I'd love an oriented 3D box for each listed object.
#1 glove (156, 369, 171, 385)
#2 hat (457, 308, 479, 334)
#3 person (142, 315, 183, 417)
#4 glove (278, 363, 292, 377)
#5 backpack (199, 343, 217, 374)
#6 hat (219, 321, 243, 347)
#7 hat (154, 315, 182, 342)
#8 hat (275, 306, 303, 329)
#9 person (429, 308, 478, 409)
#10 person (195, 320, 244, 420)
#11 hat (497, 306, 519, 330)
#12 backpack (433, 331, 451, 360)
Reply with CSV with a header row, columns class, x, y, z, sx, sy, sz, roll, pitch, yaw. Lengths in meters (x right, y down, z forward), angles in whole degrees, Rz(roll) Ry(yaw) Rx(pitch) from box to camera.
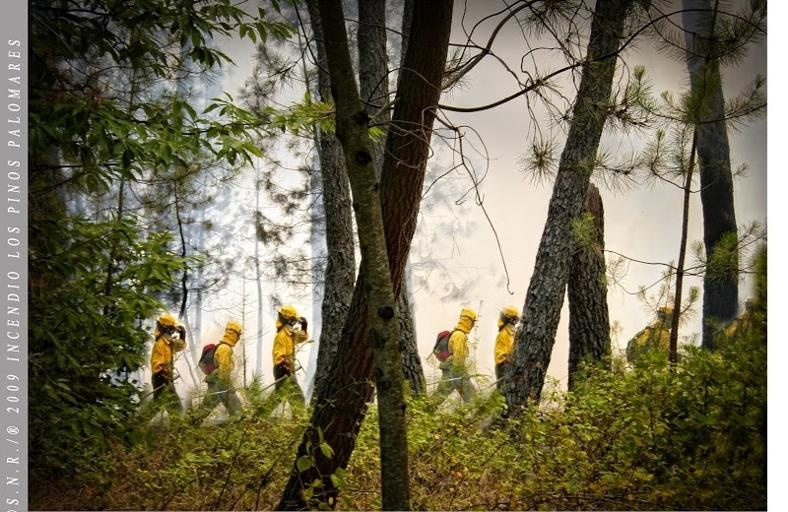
class,x,y,z,sx,sy,sz,roll,pitch,yaw
glove,-3.109,1.630,11.342,0.176,0.182,0.305,10,-13,-36
hat,1.032,0.944,12.262,0.352,0.345,0.315,1,-3,-9
person,-2.991,1.343,10.963,0.469,1.355,2.240,5,-11,-13
glove,-1.490,1.586,11.630,0.193,0.185,0.415,8,-11,-25
backpack,-2.610,1.435,11.744,0.274,0.358,0.384,0,-39,-8
hat,-2.322,1.118,11.920,0.286,0.324,0.230,11,-25,27
hat,-3.167,0.986,11.654,0.377,0.352,0.276,-4,1,-19
hat,-1.545,0.870,12.211,0.229,0.254,0.354,-2,-12,-15
person,0.829,1.293,11.490,0.620,1.356,1.820,2,-10,4
person,-2.283,1.395,10.972,0.552,1.320,2.330,5,-10,-12
hat,1.679,0.894,12.177,0.322,0.310,0.257,6,10,0
backpack,0.698,1.308,12.197,0.281,0.341,0.181,13,-45,7
